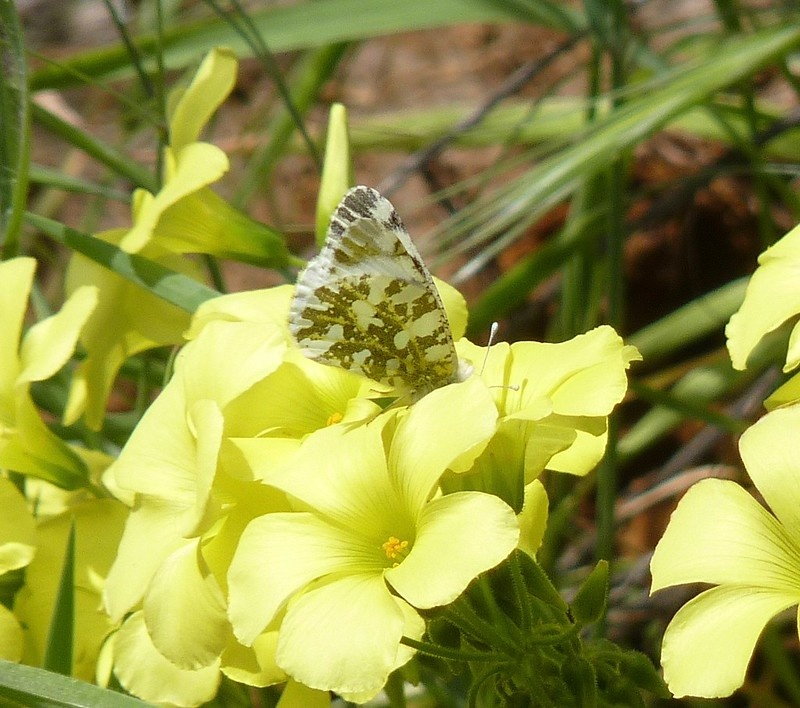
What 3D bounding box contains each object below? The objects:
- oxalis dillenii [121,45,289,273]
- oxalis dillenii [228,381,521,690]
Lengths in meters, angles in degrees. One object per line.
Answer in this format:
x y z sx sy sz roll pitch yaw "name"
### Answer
-0.153 -0.153 0.911 0.127 0.172 0.117 -1 6 -5 "oxalis dillenii"
-0.013 0.110 0.739 0.218 0.072 0.198 -39 32 -24 "oxalis dillenii"
